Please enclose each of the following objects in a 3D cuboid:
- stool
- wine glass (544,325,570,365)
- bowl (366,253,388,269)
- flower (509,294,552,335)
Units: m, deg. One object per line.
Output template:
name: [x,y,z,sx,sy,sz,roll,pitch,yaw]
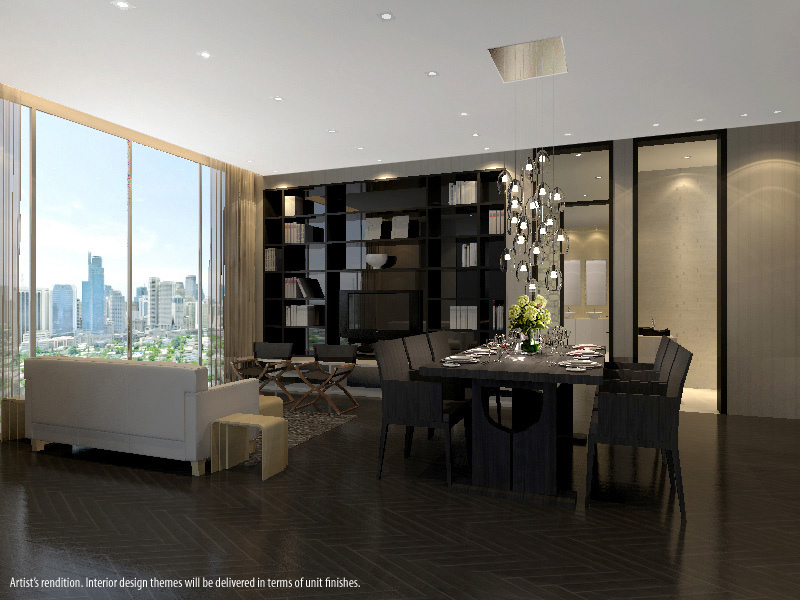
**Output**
stool: [-1.372,1.341,5.830,0.603,0.566,0.524,2,4,27]
wine glass: [1.592,0.445,6.263,0.166,0.261,0.677,1,3,15]
bowl: [-0.365,-0.563,9.547,0.237,0.180,0.241,-1,-2,0]
flower: [1.317,0.147,6.274,0.439,0.491,0.418,-2,5,9]
